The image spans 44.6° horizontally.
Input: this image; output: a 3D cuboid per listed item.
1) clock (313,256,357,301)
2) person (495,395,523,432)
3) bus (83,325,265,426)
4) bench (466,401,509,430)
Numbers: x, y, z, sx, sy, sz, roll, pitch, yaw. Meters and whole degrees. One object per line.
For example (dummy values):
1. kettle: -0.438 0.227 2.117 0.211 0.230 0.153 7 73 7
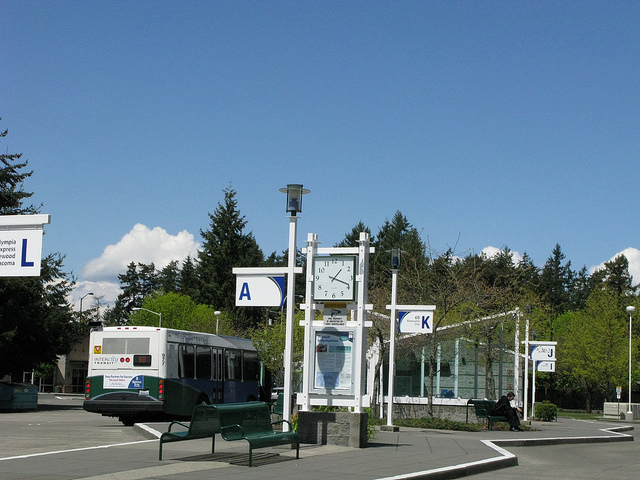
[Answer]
1. clock: 0.403 1.018 20.442 1.132 1.111 0.335 1 -11 -1
2. person: 7.359 6.764 30.386 1.031 1.270 0.468 -1 -11 7
3. bus: -5.458 5.995 33.568 3.435 4.136 10.495 -4 -11 17
4. bench: 6.652 6.697 30.549 0.978 1.086 1.545 -5 -9 41
